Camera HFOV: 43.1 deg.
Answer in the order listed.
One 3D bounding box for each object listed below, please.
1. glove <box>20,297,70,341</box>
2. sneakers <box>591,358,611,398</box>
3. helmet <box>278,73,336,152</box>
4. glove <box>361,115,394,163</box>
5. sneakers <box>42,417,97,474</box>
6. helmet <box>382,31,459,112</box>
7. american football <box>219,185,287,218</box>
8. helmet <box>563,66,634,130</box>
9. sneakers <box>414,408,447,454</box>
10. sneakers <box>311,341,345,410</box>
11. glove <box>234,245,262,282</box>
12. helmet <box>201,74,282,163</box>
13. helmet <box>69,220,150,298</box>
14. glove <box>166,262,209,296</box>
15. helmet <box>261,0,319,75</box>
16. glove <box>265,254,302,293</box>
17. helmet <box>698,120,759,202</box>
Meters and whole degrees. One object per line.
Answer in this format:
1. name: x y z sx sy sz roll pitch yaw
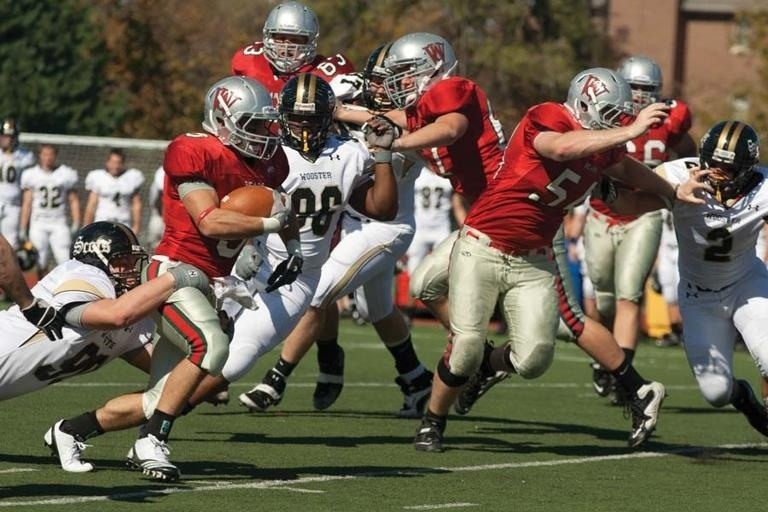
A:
1. glove: -1.852 0.346 5.296 0.244 0.158 0.093 36 -15 -21
2. sneakers: 1.708 0.965 7.592 0.167 0.288 0.127 6 39 19
3. helmet: -0.483 -0.852 5.998 0.401 0.441 0.465 1 41 -4
4. glove: -0.031 -0.705 5.942 0.213 0.255 0.120 8 31 19
5. sneakers: -1.798 1.076 5.565 0.273 0.280 0.252 1 4 -13
6. helmet: 0.194 -1.232 6.535 0.554 0.415 0.418 -20 0 -6
7. american football: -0.779 -0.309 5.515 0.383 0.212 0.189 -12 -15 32
8. helmet: 1.330 -0.964 5.968 0.445 0.331 0.324 3 21 11
9. sneakers: 0.297 1.113 6.247 0.194 0.255 0.231 2 4 3
10. sneakers: -0.384 0.870 7.275 0.200 0.537 0.272 3 -3 1
11. glove: -0.770 0.035 5.496 0.157 0.071 0.202 -27 -17 -22
12. helmet: -0.885 -0.791 5.541 0.521 0.386 0.400 17 18 29
13. helmet: -1.549 0.020 5.627 0.495 0.417 0.377 6 0 -1
14. glove: -1.096 0.123 5.424 0.184 0.080 0.149 25 20 5
15. helmet: -0.658 -1.654 7.289 0.426 0.453 0.543 3 34 3
16. glove: -0.588 0.123 5.798 0.227 0.100 0.156 -33 36 14
17. helmet: 2.216 -0.604 6.214 0.368 0.539 0.348 3 4 16
